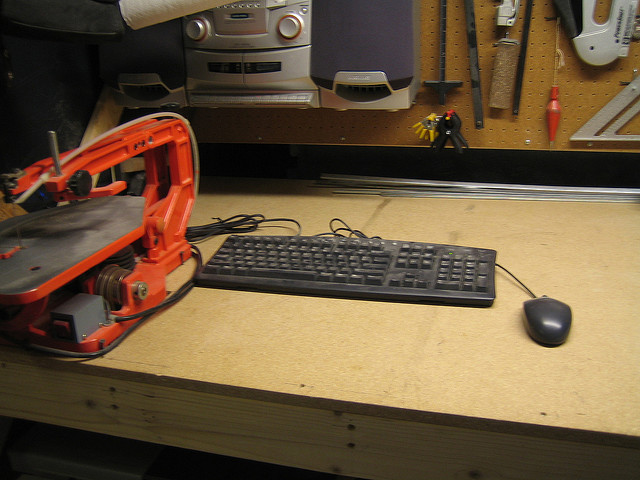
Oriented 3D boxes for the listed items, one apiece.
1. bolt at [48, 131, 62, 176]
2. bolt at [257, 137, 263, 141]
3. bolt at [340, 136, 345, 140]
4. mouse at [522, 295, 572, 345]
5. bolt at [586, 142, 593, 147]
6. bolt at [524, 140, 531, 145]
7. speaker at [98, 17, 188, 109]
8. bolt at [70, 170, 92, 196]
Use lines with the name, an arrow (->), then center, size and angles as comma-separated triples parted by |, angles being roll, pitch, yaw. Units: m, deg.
bolt -> -0.430, -0.141, 0.808 | 0.012, 0.070, 0.065 | -7, 14, -27
bolt -> -0.183, -0.310, 1.511 | 0.020, 0.007, 0.006 | 2, 6, 8
bolt -> 0.067, -0.299, 1.451 | 0.014, 0.004, 0.017 | 4, 10, 26
mouse -> 0.368, 0.133, 0.807 | 0.069, 0.055, 0.075 | 4, 12, 19
bolt -> 0.716, -0.254, 1.312 | 0.023, 0.012, 0.006 | -2, -2, 12
bolt -> 0.565, -0.266, 1.346 | 0.024, 0.014, 0.004 | 2, 5, 10
speaker -> -0.426, -0.493, 1.431 | 0.306, 0.210, 0.237 | 3, 20, 7
bolt -> -0.386, -0.092, 0.806 | 0.028, 0.043, 0.046 | -2, 12, -11
